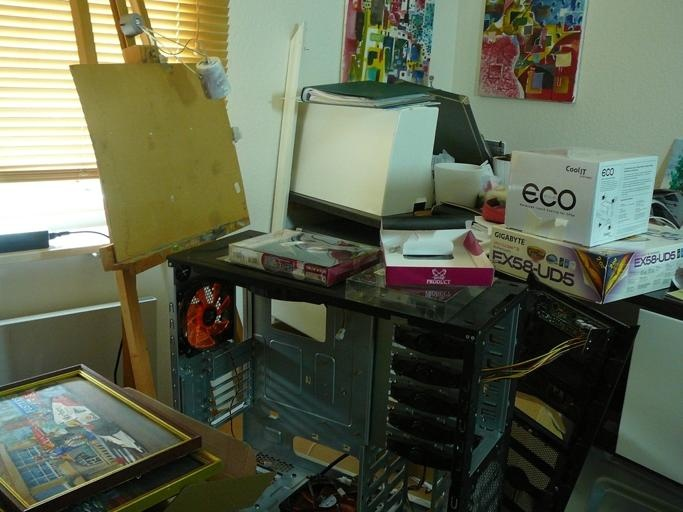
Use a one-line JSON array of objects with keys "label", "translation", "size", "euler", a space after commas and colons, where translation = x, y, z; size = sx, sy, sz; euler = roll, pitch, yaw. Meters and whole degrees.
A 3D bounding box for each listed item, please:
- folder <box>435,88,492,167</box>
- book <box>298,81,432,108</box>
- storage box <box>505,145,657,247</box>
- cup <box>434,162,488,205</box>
[{"label": "folder", "translation": [0.541, -0.594, 2.492], "size": [0.278, 0.321, 0.084], "euler": [10, 21, 32]}, {"label": "book", "translation": [0.113, -0.705, 2.379], "size": [0.403, 0.096, 0.540], "euler": [-14, 22, -32]}, {"label": "storage box", "translation": [0.686, -0.201, 1.599], "size": [0.321, 0.244, 0.312], "euler": [16, 27, 35]}, {"label": "cup", "translation": [0.469, -0.290, 2.212], "size": [0.191, 0.145, 0.171], "euler": [5, 18, 3]}]
